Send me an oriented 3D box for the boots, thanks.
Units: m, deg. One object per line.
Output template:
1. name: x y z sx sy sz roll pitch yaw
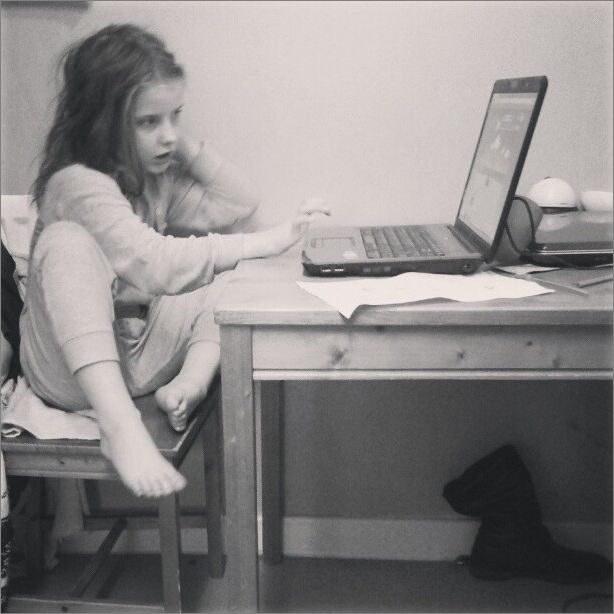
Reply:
1. boots: 0.366 0.400 1.568 0.355 0.326 0.154 4 -5 2

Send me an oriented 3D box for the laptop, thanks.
1. laptop: 0.161 -0.211 1.317 0.311 0.296 0.352 0 22 1
